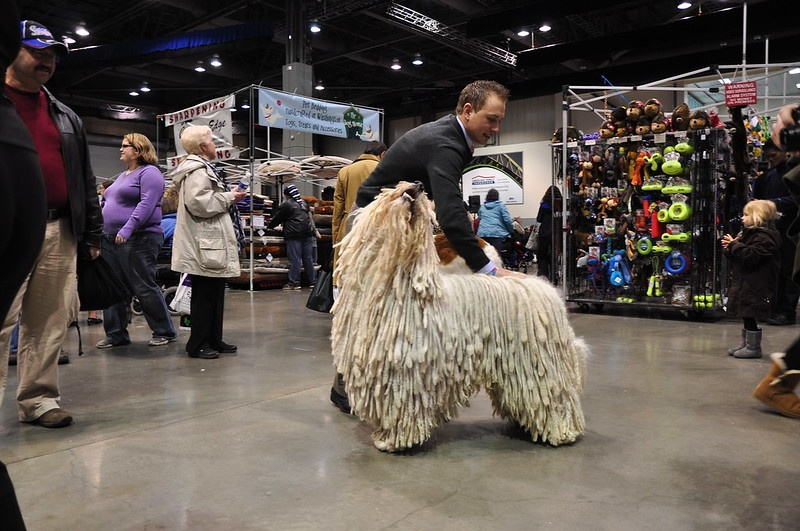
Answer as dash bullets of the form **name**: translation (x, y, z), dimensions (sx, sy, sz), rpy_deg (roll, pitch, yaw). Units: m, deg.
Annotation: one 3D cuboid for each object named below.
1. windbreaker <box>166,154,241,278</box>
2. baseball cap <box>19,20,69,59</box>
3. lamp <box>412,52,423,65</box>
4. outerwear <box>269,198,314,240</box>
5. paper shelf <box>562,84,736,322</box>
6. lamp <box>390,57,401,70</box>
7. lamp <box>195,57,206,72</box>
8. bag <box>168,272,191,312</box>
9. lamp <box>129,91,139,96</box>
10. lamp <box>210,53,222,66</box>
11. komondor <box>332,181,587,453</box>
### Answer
- **windbreaker**: translation (-1.757, -0.433, 4.599), dimensions (0.510, 1.130, 0.452), rpy_deg (-1, 2, -40)
- **baseball cap**: translation (-1.947, -1.242, 2.795), dimensions (0.326, 0.143, 0.201), rpy_deg (24, 29, 21)
- **lamp**: translation (0.562, -6.642, 16.506), dimensions (0.369, 0.349, 0.341), rpy_deg (8, -6, -8)
- **outerwear**: translation (-2.096, -0.932, 10.077), dimensions (0.601, 0.750, 0.994), rpy_deg (15, 21, 33)
- **paper shelf**: translation (3.469, -0.881, 6.940), dimensions (1.223, 3.037, 2.394), rpy_deg (-8, 8, -28)
- **lamp**: translation (-0.124, -6.451, 16.716), dimensions (0.438, 0.384, 0.403), rpy_deg (-2, -18, 7)
- **lamp**: translation (-6.650, -6.594, 17.092), dimensions (0.347, 0.300, 0.319), rpy_deg (-1, 5, 3)
- **bag**: translation (-2.527, 0.350, 5.894), dimensions (0.129, 0.223, 0.381), rpy_deg (27, -29, -36)
- **lamp**: translation (-10.110, -6.527, 19.684), dimensions (0.377, 0.081, 0.366), rpy_deg (2, -2, -19)
- **lamp**: translation (-5.994, -6.634, 16.719), dimensions (0.327, 0.299, 0.316), rpy_deg (1, 6, 10)
- **komondor**: translation (0.286, 0.275, 2.725), dimensions (1.276, 1.396, 0.347), rpy_deg (-1, 6, -10)
